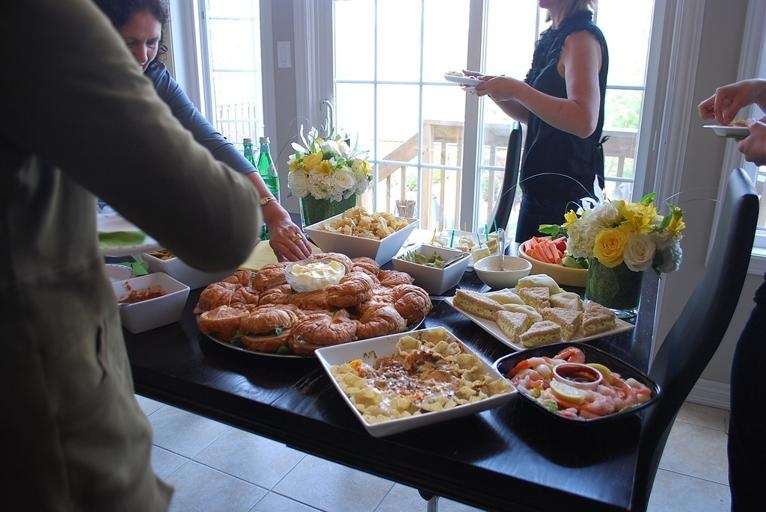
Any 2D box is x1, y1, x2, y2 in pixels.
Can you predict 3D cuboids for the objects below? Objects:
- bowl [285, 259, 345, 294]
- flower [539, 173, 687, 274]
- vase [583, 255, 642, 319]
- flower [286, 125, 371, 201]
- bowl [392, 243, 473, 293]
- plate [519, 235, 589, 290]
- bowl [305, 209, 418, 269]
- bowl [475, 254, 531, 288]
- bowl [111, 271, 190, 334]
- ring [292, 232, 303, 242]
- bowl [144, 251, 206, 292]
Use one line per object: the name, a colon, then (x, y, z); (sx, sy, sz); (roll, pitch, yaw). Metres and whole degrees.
bowl: (-0.170, 0.050, 1.324); (0.134, 0.055, 0.142); (2, 16, -1)
flower: (0.613, -0.052, 1.357); (0.356, 0.212, 0.310); (9, 28, 21)
vase: (0.644, 0.065, 1.353); (0.115, 0.185, 0.110); (-30, 39, -6)
flower: (-0.224, -0.331, 1.912); (0.295, 0.258, 0.289); (3, 12, -19)
bowl: (0.147, 0.008, 1.467); (0.184, 0.084, 0.149); (14, 29, 34)
plate: (0.516, 0.021, 1.494); (0.158, 0.047, 0.147); (5, 22, -2)
bowl: (-0.070, -0.103, 1.634); (0.223, 0.086, 0.243); (-1, 19, 0)
bowl: (0.352, 0.058, 1.487); (0.150, 0.069, 0.151); (-2, 14, 1)
bowl: (-0.585, 0.113, 1.283); (0.178, 0.078, 0.138); (-9, 26, -32)
ring: (-0.258, -0.056, 1.507); (0.022, 0.010, 0.029); (-4, 23, -17)
bowl: (-0.510, 0.039, 1.204); (0.108, 0.035, 0.073); (25, 29, 15)
